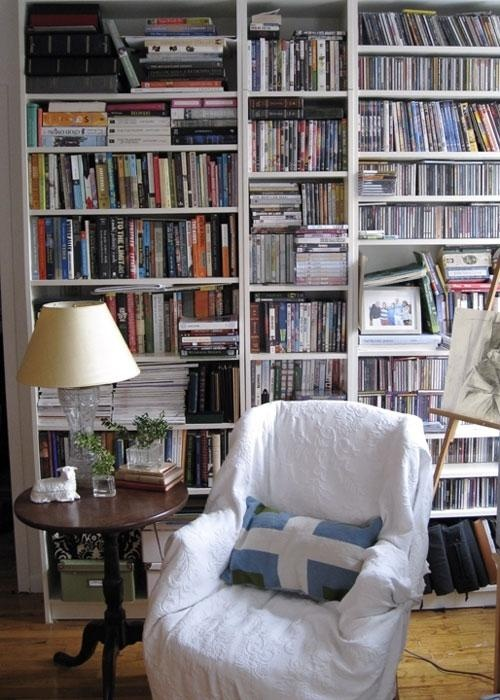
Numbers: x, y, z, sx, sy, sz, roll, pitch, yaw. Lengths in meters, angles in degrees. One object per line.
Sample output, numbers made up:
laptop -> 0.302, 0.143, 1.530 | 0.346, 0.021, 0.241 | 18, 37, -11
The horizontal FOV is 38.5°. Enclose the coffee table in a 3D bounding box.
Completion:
coffee table -> -0.337, 0.721, 2.431 | 0.649, 0.707, 0.631 | 2, 11, 7
